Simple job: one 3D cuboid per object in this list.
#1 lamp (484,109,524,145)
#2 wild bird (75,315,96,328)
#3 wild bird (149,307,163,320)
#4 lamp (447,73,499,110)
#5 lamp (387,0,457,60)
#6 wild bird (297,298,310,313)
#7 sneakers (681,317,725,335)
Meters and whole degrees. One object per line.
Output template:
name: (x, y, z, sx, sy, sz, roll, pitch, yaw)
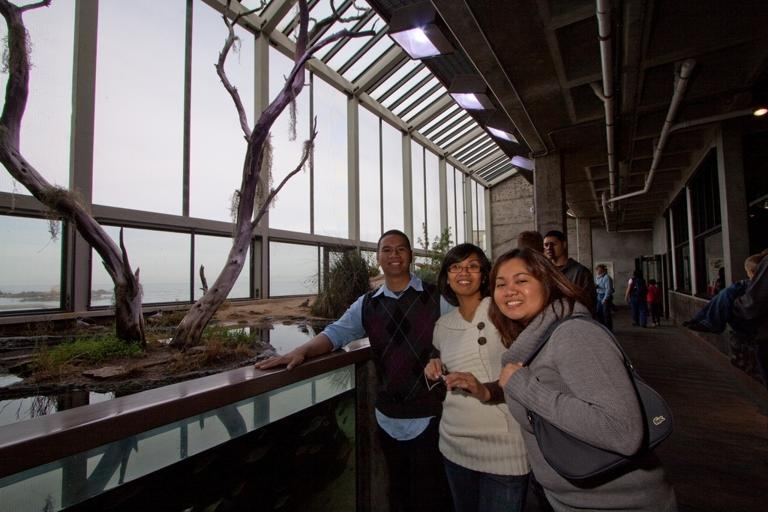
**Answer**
lamp: (2.224, -2.287, 8.154, 0.687, 0.199, 0.741, 42, -9, -20)
wild bird: (-6.114, 1.351, 9.199, 0.472, 0.192, 0.305, 6, 11, 30)
wild bird: (-5.052, 1.287, 9.850, 0.180, 0.161, 0.298, -8, 12, 13)
lamp: (1.416, -2.760, 7.166, 0.787, 0.454, 0.738, -5, -26, 11)
lamp: (0.503, -2.954, 6.042, 0.741, 0.481, 0.758, 5, -9, 13)
wild bird: (-1.967, 1.257, 11.211, 0.226, 0.315, 0.519, 10, 15, 8)
sneakers: (3.650, 0.777, 5.030, 0.293, 0.119, 0.296, -10, 2, -5)
